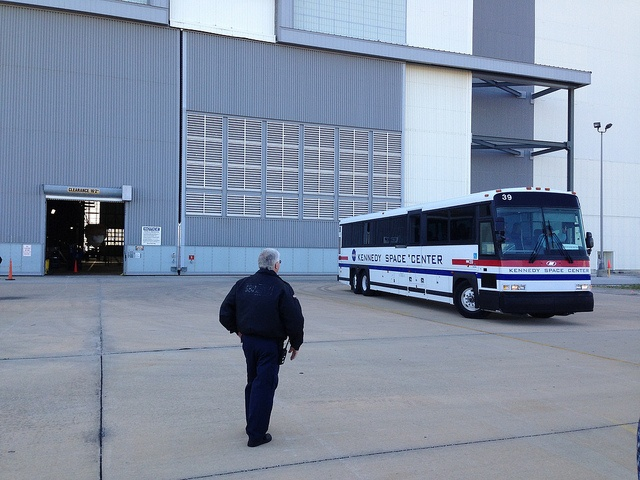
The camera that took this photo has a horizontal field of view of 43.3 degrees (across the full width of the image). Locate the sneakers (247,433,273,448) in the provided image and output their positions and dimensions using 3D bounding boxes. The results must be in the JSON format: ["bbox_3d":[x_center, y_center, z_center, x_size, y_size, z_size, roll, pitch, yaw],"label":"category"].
[{"bbox_3d":[-1.375,4.615,18.736,0.659,0.293,0.222,-9,11,-44],"label":"sneakers"}]
